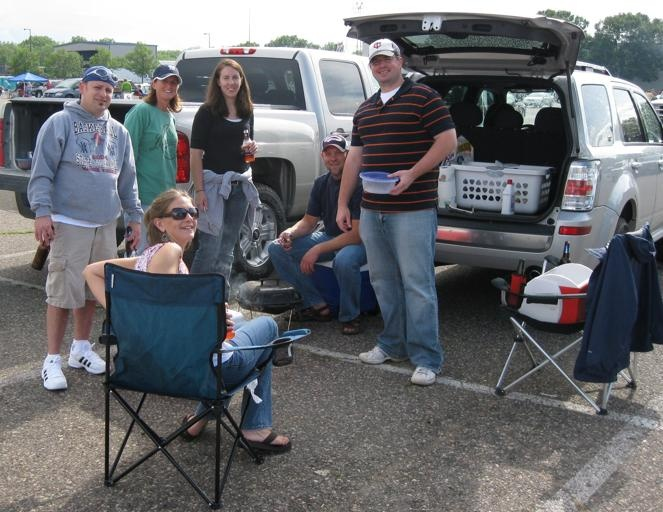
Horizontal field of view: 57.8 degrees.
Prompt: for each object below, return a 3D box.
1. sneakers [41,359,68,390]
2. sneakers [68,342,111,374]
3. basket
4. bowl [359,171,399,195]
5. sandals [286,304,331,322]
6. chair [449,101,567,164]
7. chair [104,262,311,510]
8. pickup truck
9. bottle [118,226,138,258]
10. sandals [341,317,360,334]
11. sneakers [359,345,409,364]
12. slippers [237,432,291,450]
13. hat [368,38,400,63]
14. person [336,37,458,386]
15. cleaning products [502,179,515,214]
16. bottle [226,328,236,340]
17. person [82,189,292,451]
[{"bbox_3d":[-1.736,0.743,3.753,0.101,0.125,0.271,2,-3,-30],"label":"sneakers"},{"bbox_3d":[-1.624,0.668,4.021,0.312,0.192,0.112,10,12,22],"label":"sneakers"},{"bbox_3d":[1.461,-0.588,5.194,0.630,0.271,0.497,4,10,26],"label":"basket"},{"bbox_3d":[0.298,-0.460,3.821,0.169,0.072,0.167,-1,11,0],"label":"bowl"},{"bbox_3d":[-0.194,0.477,5.051,0.392,0.155,0.132,3,2,-4],"label":"sandals"},{"bbox_3d":[1.781,-1.156,5.955,0.952,0.342,0.629,3,6,22],"label":"chair"},{"bbox_3d":[-0.704,0.575,2.900,0.941,1.103,0.555,5,17,15],"label":"chair"},{"bbox_3d":[-1.015,-1.086,6.353,2.136,1.577,3.777,6,14,38],"label":"pickup truck"},{"bbox_3d":[-1.568,-0.109,4.602,0.072,0.276,0.080,11,10,36],"label":"bottle"},{"bbox_3d":[0.152,0.571,4.881,0.122,0.091,0.338,-1,1,9],"label":"sandals"},{"bbox_3d":[0.376,0.719,4.379,0.330,0.152,0.128,6,1,-9],"label":"sneakers"},{"bbox_3d":[-0.341,1.001,3.194,0.229,0.062,0.111,4,18,-16],"label":"slippers"},{"bbox_3d":[0.341,-1.323,3.880,0.199,0.137,0.160,1,16,2],"label":"hat"},{"bbox_3d":[0.437,-0.300,4.080,0.439,2.199,0.922,-12,20,-36],"label":"person"},{"bbox_3d":[1.476,-0.491,5.020,0.104,0.270,0.169,6,17,17],"label":"cleaning products"},{"bbox_3d":[-0.513,0.396,3.021,0.054,0.058,0.045,3,-6,-19],"label":"bottle"},{"bbox_3d":[-0.698,0.377,3.078,1.050,1.324,0.626,3,8,-26],"label":"person"}]
